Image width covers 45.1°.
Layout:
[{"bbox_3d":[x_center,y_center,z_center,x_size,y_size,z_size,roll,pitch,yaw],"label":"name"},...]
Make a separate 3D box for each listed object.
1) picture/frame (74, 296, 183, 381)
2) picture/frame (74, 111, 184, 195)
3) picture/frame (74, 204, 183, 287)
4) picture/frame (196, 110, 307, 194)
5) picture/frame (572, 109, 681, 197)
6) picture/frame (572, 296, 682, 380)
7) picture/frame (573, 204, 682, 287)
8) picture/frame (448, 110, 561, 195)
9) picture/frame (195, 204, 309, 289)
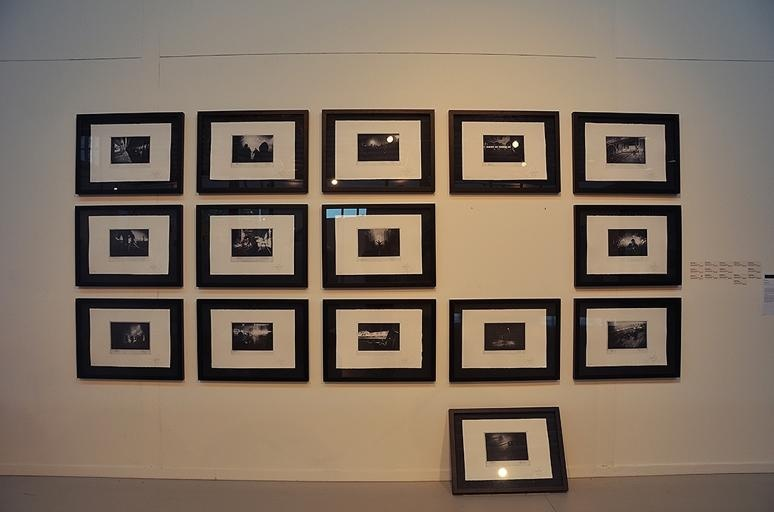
[{"bbox_3d":[-1.758,0.558,6.404,0.700,0.580,0.024,1,14,-11],"label":"picture/frame"},{"bbox_3d":[-1.737,-0.697,6.389,0.513,0.449,0.045,0,0,2],"label":"picture/frame"},{"bbox_3d":[-1.734,-0.084,6.388,0.505,0.416,0.028,0,2,1],"label":"picture/frame"},{"bbox_3d":[-0.919,-0.700,6.372,0.512,0.419,0.045,0,-1,0],"label":"picture/frame"},{"bbox_3d":[1.611,-0.698,6.395,0.539,0.470,0.045,0,-4,-2],"label":"picture/frame"},{"bbox_3d":[1.609,0.542,6.404,0.513,0.422,0.043,0,0,-1],"label":"picture/frame"},{"bbox_3d":[1.609,-0.086,6.392,0.505,0.417,0.026,0,-3,-2],"label":"picture/frame"},{"bbox_3d":[0.773,-0.714,6.376,0.517,0.429,0.028,0,-1,-1],"label":"picture/frame"},{"bbox_3d":[-0.906,-0.088,6.370,0.519,0.429,0.028,0,0,0],"label":"picture/frame"}]
